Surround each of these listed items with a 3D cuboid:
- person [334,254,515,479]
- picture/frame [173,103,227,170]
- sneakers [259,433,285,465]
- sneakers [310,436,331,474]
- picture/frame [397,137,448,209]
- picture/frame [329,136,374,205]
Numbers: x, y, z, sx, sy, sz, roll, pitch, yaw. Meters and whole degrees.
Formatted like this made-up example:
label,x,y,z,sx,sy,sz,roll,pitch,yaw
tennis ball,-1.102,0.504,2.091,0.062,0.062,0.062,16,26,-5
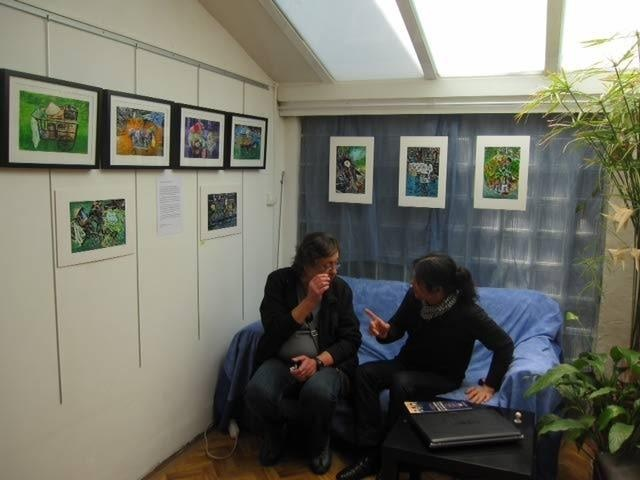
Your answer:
label,x,y,z,sx,sy,sz,roll,pitch,yaw
person,0.718,0.930,3.624,1.220,2.102,1.014,12,-8,-13
picture/frame,-0.773,-0.656,2.901,0.034,0.398,0.442,4,3,27
sneakers,-0.310,1.307,2.875,0.085,0.117,0.254,1,-6,2
sneakers,0.005,1.327,2.792,0.082,0.111,0.263,0,-11,7
picture/frame,0.799,-0.519,3.515,0.462,0.736,0.030,1,2,18
picture/frame,0.265,-0.573,3.715,0.475,0.735,0.034,1,0,16
